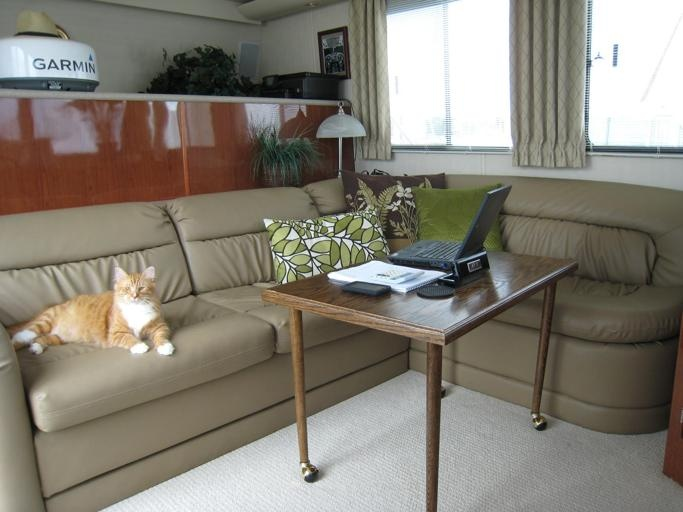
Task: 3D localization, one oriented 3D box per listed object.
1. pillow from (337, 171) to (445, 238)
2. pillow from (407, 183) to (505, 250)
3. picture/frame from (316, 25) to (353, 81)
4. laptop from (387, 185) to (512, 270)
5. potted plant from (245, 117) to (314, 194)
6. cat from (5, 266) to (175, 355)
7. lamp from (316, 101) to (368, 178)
[{"bbox_3d":[0.326,-0.319,3.294,0.432,0.357,0.154,-2,10,-3],"label":"pillow"},{"bbox_3d":[0.636,-0.213,2.905,0.380,0.400,0.119,-3,-12,8],"label":"pillow"},{"bbox_3d":[-0.070,-1.789,4.551,0.191,0.434,0.399,-10,17,-17],"label":"picture/frame"},{"bbox_3d":[0.476,-0.117,2.234,0.422,0.316,0.414,5,14,33],"label":"laptop"},{"bbox_3d":[-0.483,-0.785,3.920,0.478,0.347,0.473,-10,18,-38],"label":"potted plant"},{"bbox_3d":[-1.155,0.205,2.334,0.685,0.326,0.380,-1,6,23],"label":"cat"},{"bbox_3d":[-0.017,-0.971,4.174,0.378,0.553,0.517,-5,17,0],"label":"lamp"}]
